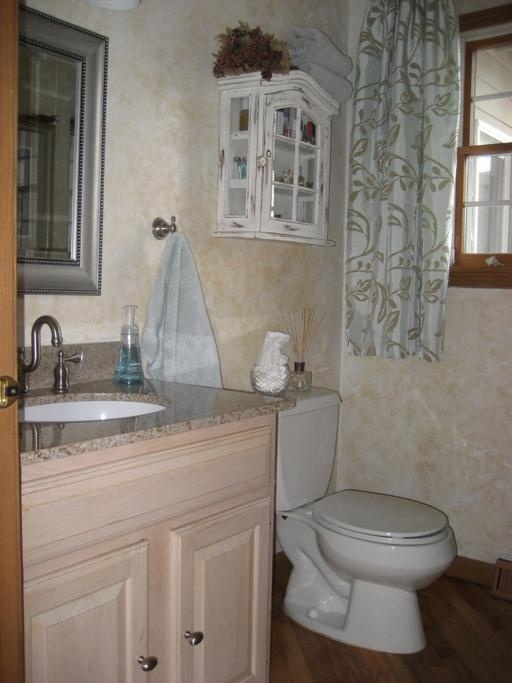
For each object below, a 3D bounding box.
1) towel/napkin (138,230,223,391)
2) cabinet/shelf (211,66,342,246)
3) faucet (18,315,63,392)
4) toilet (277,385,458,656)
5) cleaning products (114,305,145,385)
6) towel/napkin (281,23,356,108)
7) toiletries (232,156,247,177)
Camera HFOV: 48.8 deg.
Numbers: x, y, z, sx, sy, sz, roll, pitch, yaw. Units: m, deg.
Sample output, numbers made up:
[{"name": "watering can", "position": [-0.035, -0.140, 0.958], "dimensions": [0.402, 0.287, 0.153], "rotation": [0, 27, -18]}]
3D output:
[{"name": "towel/napkin", "position": [-0.207, -0.045, 1.474], "dimensions": [0.210, 0.091, 0.558], "rotation": [-1, -40, -10]}, {"name": "cabinet/shelf", "position": [0.047, -0.590, 1.762], "dimensions": [0.142, 0.577, 0.473], "rotation": [4, 8, 31]}, {"name": "faucet", "position": [-0.472, 0.027, 1.208], "dimensions": [0.077, 0.166, 0.137], "rotation": [-2, 3, -39]}, {"name": "toilet", "position": [0.311, 0.532, 1.830], "dimensions": [0.570, 0.859, 0.380], "rotation": [4, 15, 30]}, {"name": "cleaning products", "position": [-0.328, 0.009, 1.463], "dimensions": [0.073, 0.203, 0.184], "rotation": [0, 2, -13]}, {"name": "towel/napkin", "position": [0.215, -0.941, 1.880], "dimensions": [0.230, 0.108, 0.234], "rotation": [40, 5, 29]}, {"name": "toiletries", "position": [-0.050, -0.539, 1.722], "dimensions": [0.032, 0.081, 0.065], "rotation": [0, 7, -11]}]
